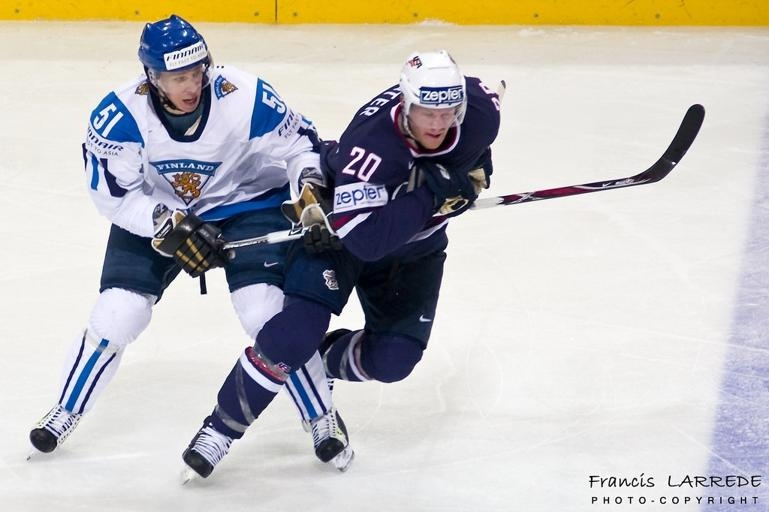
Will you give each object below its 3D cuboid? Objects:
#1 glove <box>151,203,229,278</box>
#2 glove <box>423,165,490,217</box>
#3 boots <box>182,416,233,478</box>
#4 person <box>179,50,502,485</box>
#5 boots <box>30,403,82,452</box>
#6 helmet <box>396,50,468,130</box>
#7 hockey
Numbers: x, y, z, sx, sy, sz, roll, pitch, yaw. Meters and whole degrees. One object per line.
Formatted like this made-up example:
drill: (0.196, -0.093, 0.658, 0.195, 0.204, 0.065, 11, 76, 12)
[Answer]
glove: (-0.787, -0.068, 3.423, 0.343, 0.199, 0.124, 38, 10, -3)
glove: (0.276, -0.266, 3.162, 0.224, 0.212, 0.086, 0, 51, -33)
boots: (-0.697, 0.774, 3.202, 0.122, 0.250, 0.183, 18, 37, 29)
person: (-0.080, -0.036, 3.217, 0.549, 1.389, 1.418, 22, 39, 33)
boots: (-1.343, 0.680, 3.393, 0.102, 0.276, 0.093, 29, 11, -10)
helmet: (0.182, -0.647, 3.163, 0.252, 0.269, 0.307, -5, 40, -13)
hockey: (-0.067, -0.377, 3.769, 3.155, 0.404, 0.210, -5, 7, -4)
